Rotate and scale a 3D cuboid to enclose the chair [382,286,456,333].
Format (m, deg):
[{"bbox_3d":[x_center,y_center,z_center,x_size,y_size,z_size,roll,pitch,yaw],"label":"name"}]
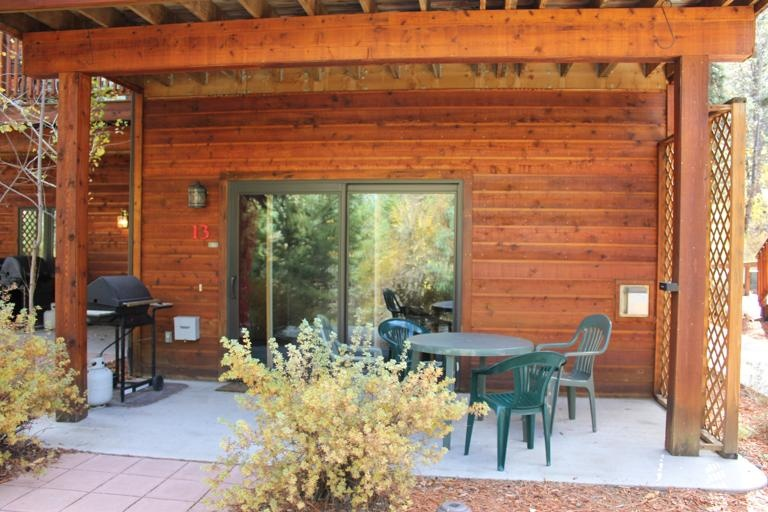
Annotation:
[{"bbox_3d":[0.477,0.699,9.454,0.732,0.865,0.608,-1,1,15],"label":"chair"}]

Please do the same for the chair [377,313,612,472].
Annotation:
[{"bbox_3d":[1.323,1.311,8.178,2.564,1.154,1.277,1,-3,-2],"label":"chair"}]

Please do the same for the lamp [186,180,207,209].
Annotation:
[{"bbox_3d":[-2.456,-0.815,9.550,0.338,0.411,0.320,0,0,-7],"label":"lamp"}]
